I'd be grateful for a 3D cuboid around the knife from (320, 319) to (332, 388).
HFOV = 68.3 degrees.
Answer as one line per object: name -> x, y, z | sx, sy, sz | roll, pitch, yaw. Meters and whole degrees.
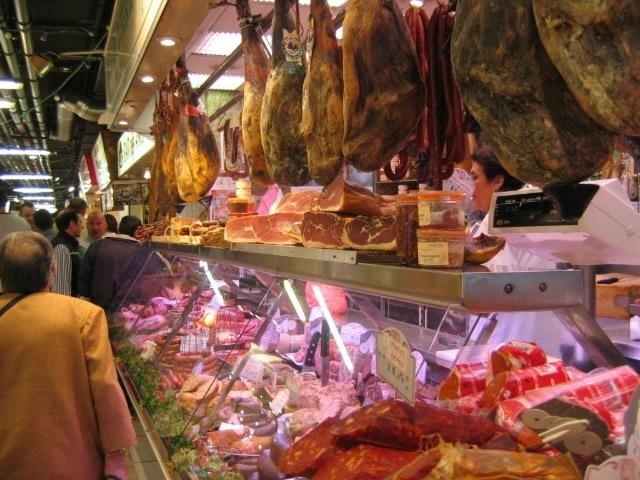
knife -> 0.021, 0.428, 1.791 | 0.018, 0.253, 0.038 | -1, -12, -6
